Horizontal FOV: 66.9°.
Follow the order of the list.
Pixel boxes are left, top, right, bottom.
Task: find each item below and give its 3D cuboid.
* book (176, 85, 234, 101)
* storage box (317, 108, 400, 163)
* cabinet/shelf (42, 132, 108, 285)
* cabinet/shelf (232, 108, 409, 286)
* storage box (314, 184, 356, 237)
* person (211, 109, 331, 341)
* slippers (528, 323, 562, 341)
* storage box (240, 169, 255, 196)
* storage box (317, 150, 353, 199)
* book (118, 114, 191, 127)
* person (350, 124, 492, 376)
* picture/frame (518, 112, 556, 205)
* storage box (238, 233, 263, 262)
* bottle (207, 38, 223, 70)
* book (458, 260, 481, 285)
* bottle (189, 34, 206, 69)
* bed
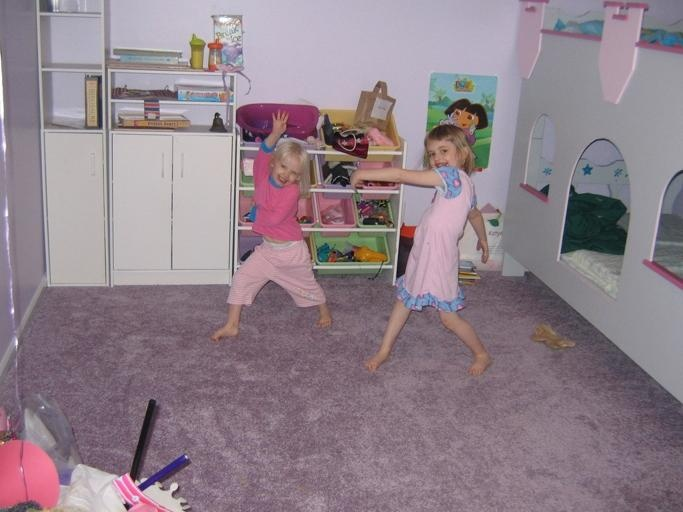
[{"bbox_3d":[-1.063,-1.226,3.889,0.366,0.115,0.101,0,23,-8],"label":"book"},{"bbox_3d":[0.192,-0.908,4.178,0.524,0.179,0.528,0,52,-5],"label":"storage box"},{"bbox_3d":[-2.090,-0.459,4.004,0.452,1.035,0.356,-6,22,-39],"label":"cabinet/shelf"},{"bbox_3d":[-0.165,-0.470,3.917,1.321,1.297,0.667,0,41,-3],"label":"cabinet/shelf"},{"bbox_3d":[-0.034,-0.394,4.277,0.259,0.170,0.408,0,42,-12],"label":"storage box"},{"bbox_3d":[-0.447,-0.183,3.470,0.804,1.410,0.337,-4,23,-15],"label":"person"},{"bbox_3d":[1.456,0.521,3.707,0.106,0.070,0.160,-8,11,-1],"label":"slippers"},{"bbox_3d":[-0.718,-0.547,4.079,0.134,0.141,0.167,-3,26,-7],"label":"storage box"},{"bbox_3d":[-0.047,-0.654,4.136,0.225,0.145,0.352,3,46,-6],"label":"storage box"},{"bbox_3d":[-1.425,-1.020,3.912,0.524,0.097,0.121,-3,24,-13],"label":"book"},{"bbox_3d":[0.527,-0.041,3.212,0.961,1.462,0.544,3,22,1],"label":"person"},{"bbox_3d":[1.680,-0.886,4.319,0.227,0.622,1.000,11,25,18],"label":"picture/frame"},{"bbox_3d":[-0.761,-0.108,4.525,0.222,0.324,0.114,11,-11,-20],"label":"storage box"},{"bbox_3d":[-0.958,-1.507,3.915,0.104,0.192,0.284,-2,24,-11],"label":"bottle"},{"bbox_3d":[1.117,0.146,4.521,0.211,0.065,0.220,-5,35,-8],"label":"book"},{"bbox_3d":[-1.101,-1.566,3.963,0.124,0.236,0.338,-3,24,-14],"label":"bottle"},{"bbox_3d":[2.022,-0.316,3.874,0.981,1.110,0.658,3,-12,-19],"label":"bed"}]
